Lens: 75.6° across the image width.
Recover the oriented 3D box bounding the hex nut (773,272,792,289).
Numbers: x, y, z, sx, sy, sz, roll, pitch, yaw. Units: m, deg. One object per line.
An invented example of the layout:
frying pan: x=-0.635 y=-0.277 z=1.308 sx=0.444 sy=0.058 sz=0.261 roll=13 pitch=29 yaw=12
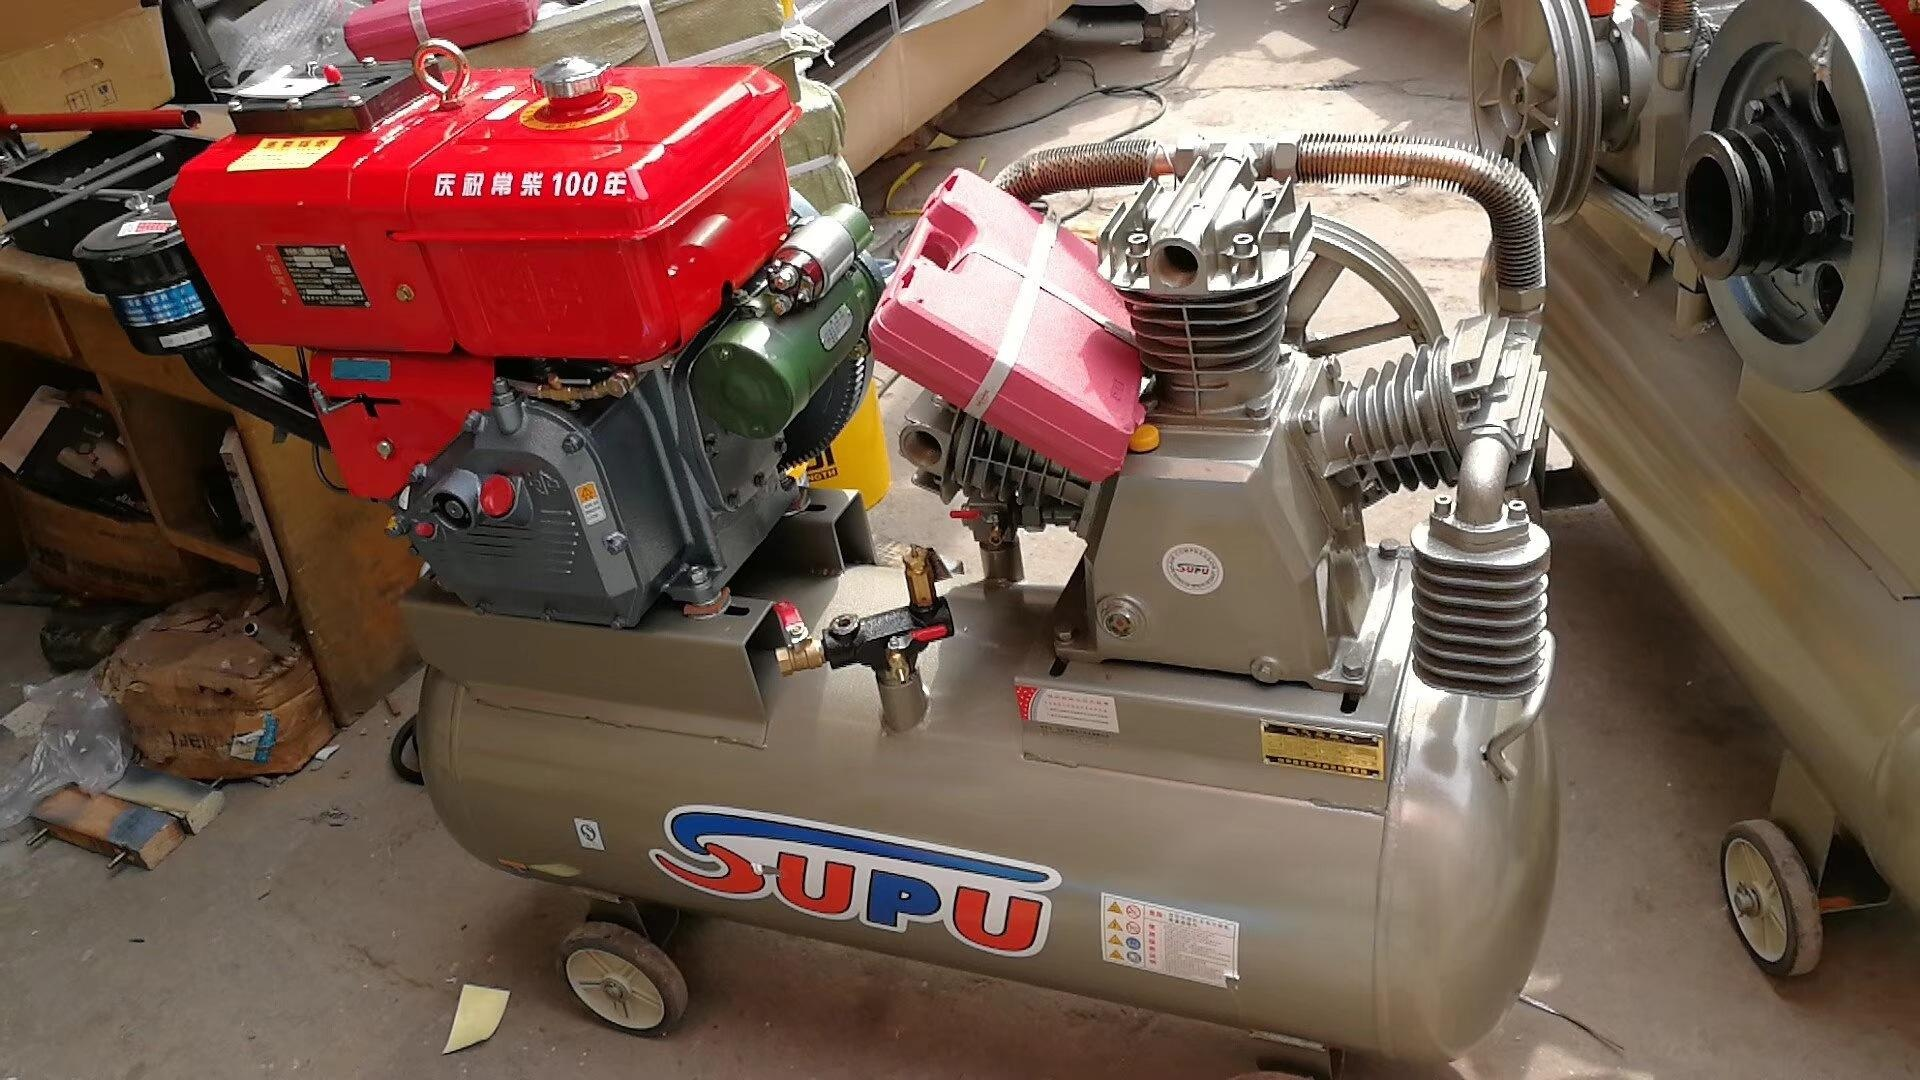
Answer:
hex nut: x=-0.473 y=-0.705 z=3.373 sx=0.040 sy=0.026 sz=0.051 roll=14 pitch=59 yaw=-4

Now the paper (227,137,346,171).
paper: x=-1.826 y=-1.044 z=3.369 sx=0.289 sy=0.046 sz=0.123 roll=2 pitch=40 yaw=9

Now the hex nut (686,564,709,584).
hex nut: x=-0.766 y=0.102 z=3.641 sx=0.057 sy=0.033 sz=0.056 roll=-24 pitch=22 yaw=-4

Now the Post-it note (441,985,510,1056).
Post-it note: x=-1.620 y=1.616 z=4.207 sx=0.187 sy=0.069 sz=0.266 roll=-5 pitch=43 yaw=-13

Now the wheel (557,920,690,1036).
wheel: x=-1.096 y=1.447 z=4.068 sx=0.447 sy=0.430 sz=0.133 roll=9 pitch=26 yaw=15

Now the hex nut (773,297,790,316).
hex nut: x=-0.478 y=-0.646 z=3.424 sx=0.048 sy=0.046 sz=0.046 roll=18 pitch=31 yaw=6

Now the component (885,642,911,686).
component: x=-0.166 y=0.357 z=3.478 sx=0.068 sy=0.092 sz=0.034 roll=-25 pitch=12 yaw=17

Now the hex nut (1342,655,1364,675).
hex nut: x=1.057 y=0.338 z=3.316 sx=0.047 sy=0.017 sz=0.046 roll=-26 pitch=40 yaw=-18

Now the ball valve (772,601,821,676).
ball valve: x=-0.475 y=0.298 z=3.614 sx=0.131 sy=0.078 sz=0.230 roll=-17 pitch=53 yaw=2

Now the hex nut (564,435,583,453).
hex nut: x=-1.055 y=-0.258 z=3.392 sx=0.047 sy=0.043 sz=0.052 roll=1 pitch=11 yaw=9

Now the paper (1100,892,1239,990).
paper: x=0.595 y=1.096 z=3.413 sx=0.391 sy=0.255 sz=0.028 roll=4 pitch=45 yaw=22

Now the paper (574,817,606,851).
paper: x=-1.134 y=0.908 z=3.828 sx=0.116 sy=0.115 sz=0.017 roll=-6 pitch=21 yaw=25

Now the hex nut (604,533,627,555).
hex nut: x=-0.965 y=0.014 z=3.495 sx=0.068 sy=0.050 sz=0.024 roll=3 pitch=12 yaw=-19
